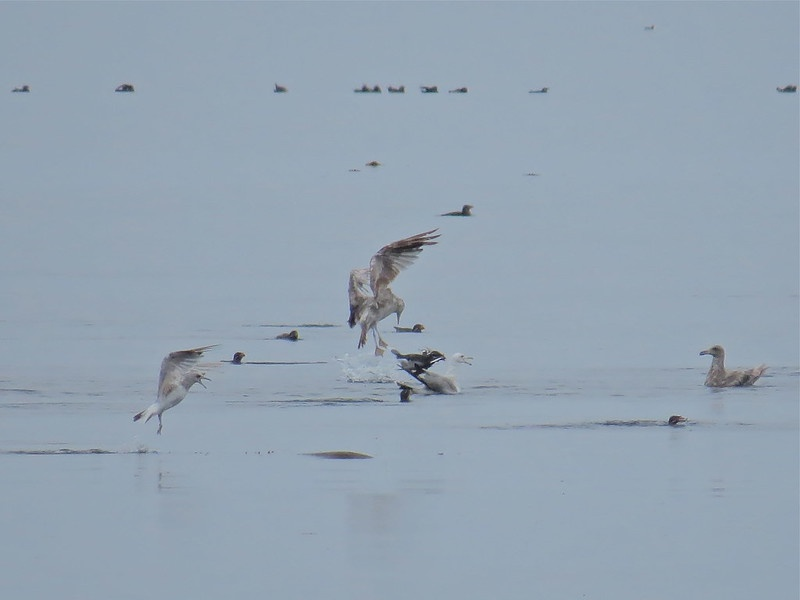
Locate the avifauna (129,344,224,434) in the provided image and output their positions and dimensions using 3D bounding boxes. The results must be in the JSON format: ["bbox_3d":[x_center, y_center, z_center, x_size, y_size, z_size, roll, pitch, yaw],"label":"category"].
[{"bbox_3d":[-2.332,0.868,18.870,0.952,0.800,1.405,-2,0,3],"label":"avifauna"}]

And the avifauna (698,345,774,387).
[{"bbox_3d":[4.400,0.972,24.374,0.973,0.777,0.388,-5,17,-11],"label":"avifauna"}]
